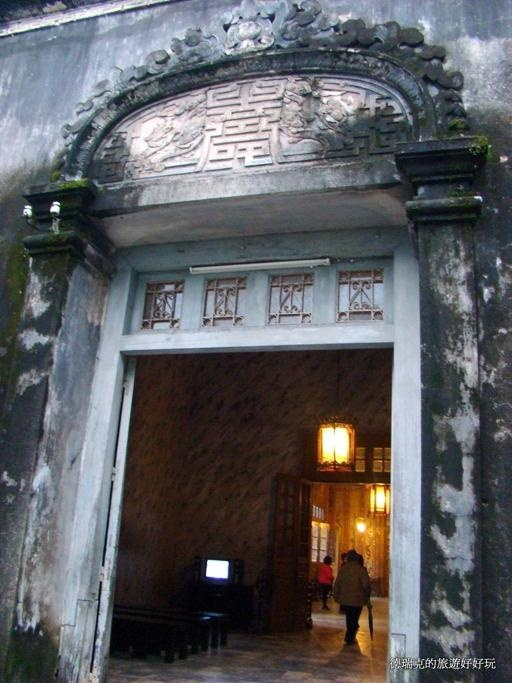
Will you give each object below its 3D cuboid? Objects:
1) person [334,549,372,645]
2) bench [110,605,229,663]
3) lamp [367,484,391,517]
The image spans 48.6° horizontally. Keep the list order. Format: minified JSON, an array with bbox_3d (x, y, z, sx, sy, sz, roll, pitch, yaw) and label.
[{"bbox_3d":[1.314,3.420,7.614,0.496,1.154,0.349,-4,-16,29],"label":"person"},{"bbox_3d":[-1.035,3.293,6.457,1.184,0.483,1.900,1,-18,7],"label":"bench"},{"bbox_3d":[2.323,2.960,10.683,0.325,0.531,0.868,0,-18,9],"label":"lamp"}]
